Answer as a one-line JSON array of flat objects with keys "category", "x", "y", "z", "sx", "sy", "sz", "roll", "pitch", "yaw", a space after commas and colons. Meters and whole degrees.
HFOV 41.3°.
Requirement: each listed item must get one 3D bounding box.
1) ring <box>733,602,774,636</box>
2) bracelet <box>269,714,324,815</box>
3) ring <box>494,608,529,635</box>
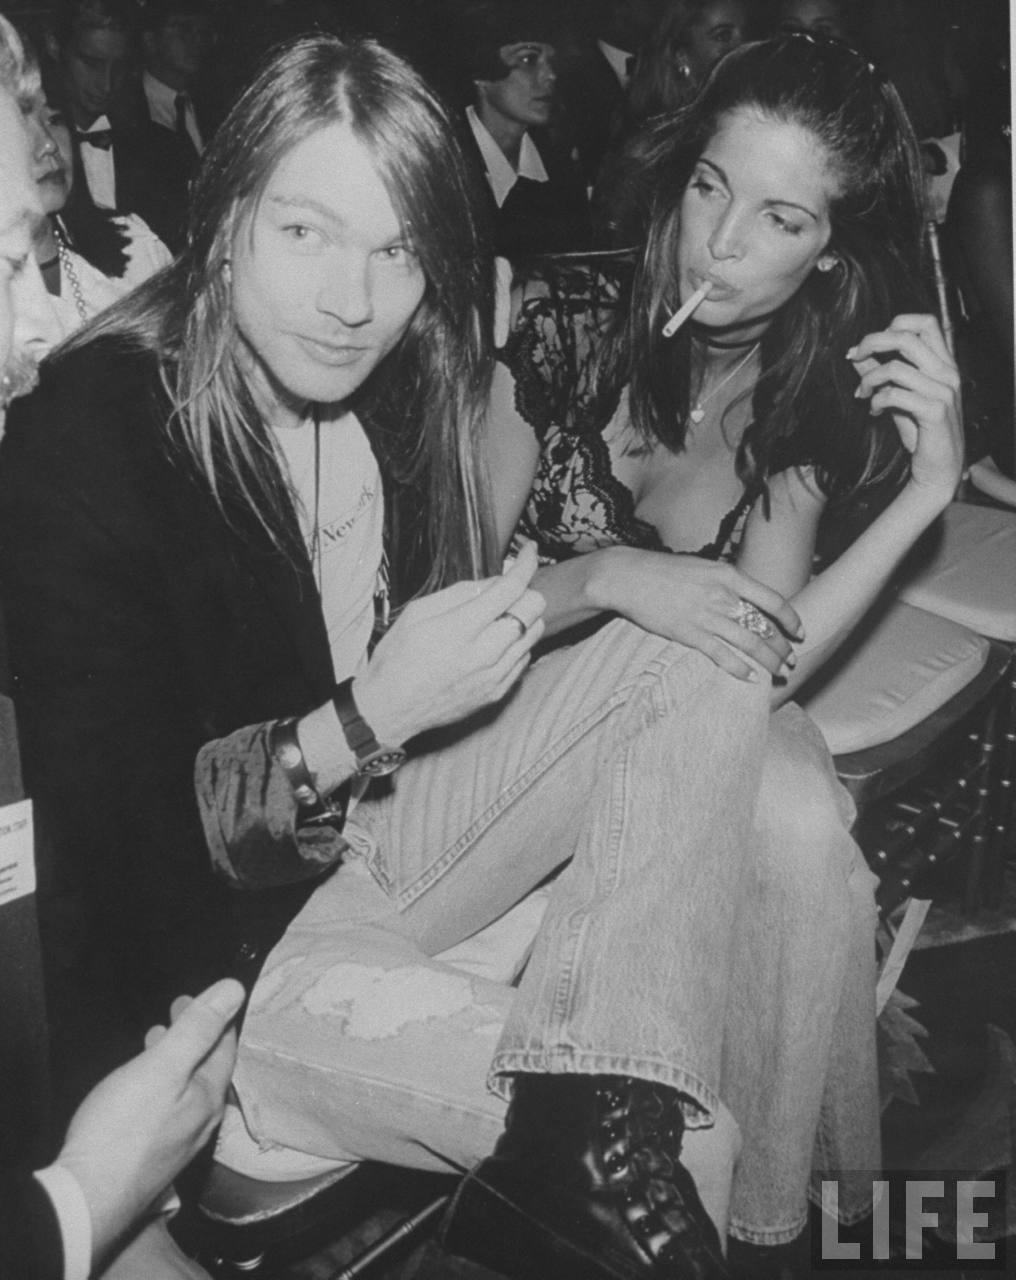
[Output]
[{"category": "ring", "x": 0.262, "y": -0.023, "z": 1.436, "sx": 0.026, "sy": 0.042, "sz": 0.011, "roll": -44, "pitch": 5, "yaw": -33}, {"category": "bracelet", "x": -0.206, "y": 0.131, "z": 1.369, "sx": 0.024, "sy": 0.082, "sz": 0.065, "roll": -24, "pitch": 29, "yaw": -6}, {"category": "ring", "x": 0.007, "y": -0.021, "z": 1.397, "sx": 0.008, "sy": 0.022, "sz": 0.022, "roll": -45, "pitch": 16, "yaw": 2}]
